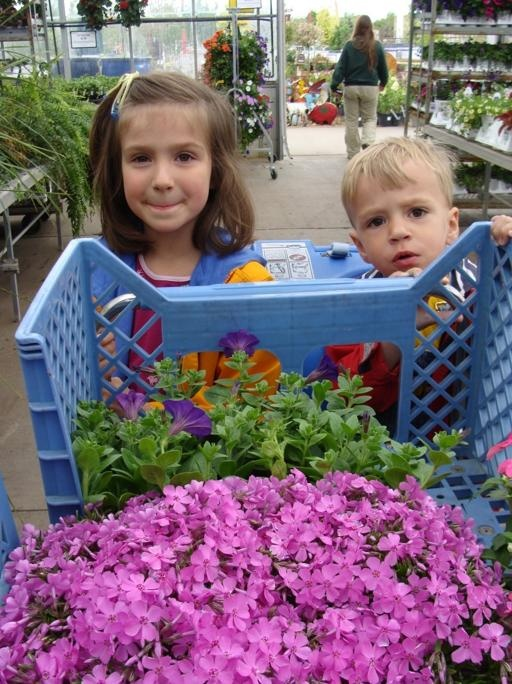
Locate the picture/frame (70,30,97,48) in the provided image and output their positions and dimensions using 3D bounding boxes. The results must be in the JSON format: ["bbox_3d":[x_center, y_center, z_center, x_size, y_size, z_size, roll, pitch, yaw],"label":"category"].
[{"bbox_3d":[-2.919,-5.108,9.021,0.396,0.301,0.666,-7,22,-16],"label":"picture/frame"}]

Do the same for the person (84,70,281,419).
[{"bbox_3d":[-0.235,-0.245,1.655,0.548,1.033,0.424,1,-2,-12],"label":"person"}]
